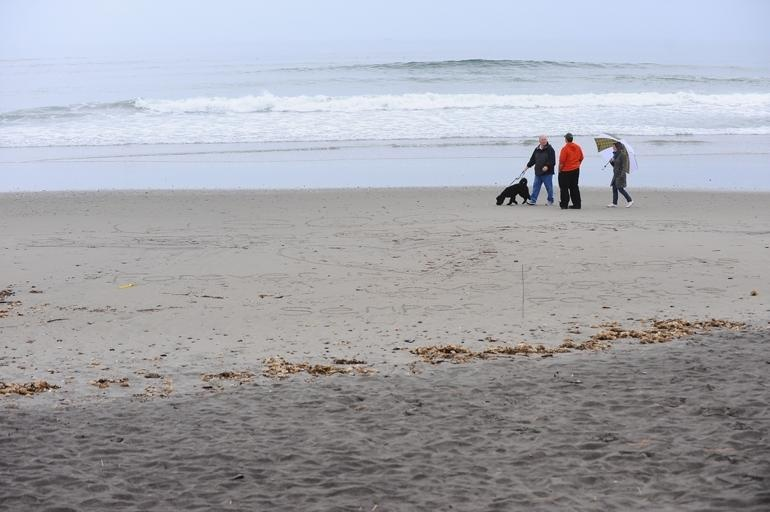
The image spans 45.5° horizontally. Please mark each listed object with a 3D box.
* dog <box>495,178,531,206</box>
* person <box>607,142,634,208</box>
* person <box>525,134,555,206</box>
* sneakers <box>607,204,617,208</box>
[{"bbox_3d":[3.328,-1.688,23.878,0.766,0.672,1.313,1,10,21],"label":"dog"},{"bbox_3d":[6.080,-2.143,23.699,0.565,1.648,1.178,-2,12,13],"label":"person"},{"bbox_3d":[4.128,-2.295,24.369,0.725,1.790,1.513,-2,11,9],"label":"person"},{"bbox_3d":[5.795,-1.277,23.443,0.259,0.063,0.071,1,9,6],"label":"sneakers"}]
